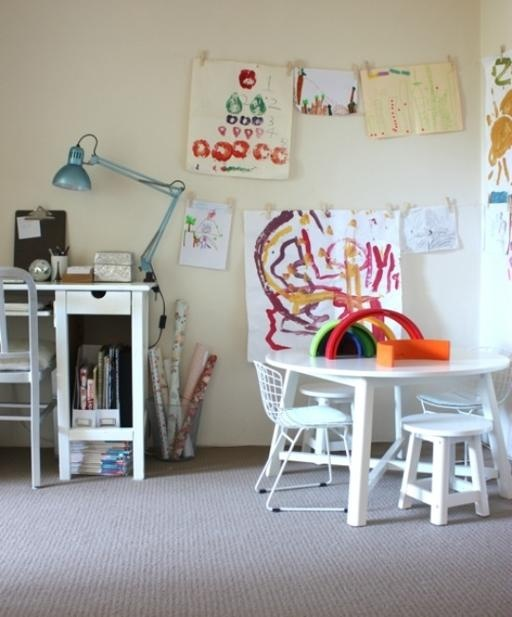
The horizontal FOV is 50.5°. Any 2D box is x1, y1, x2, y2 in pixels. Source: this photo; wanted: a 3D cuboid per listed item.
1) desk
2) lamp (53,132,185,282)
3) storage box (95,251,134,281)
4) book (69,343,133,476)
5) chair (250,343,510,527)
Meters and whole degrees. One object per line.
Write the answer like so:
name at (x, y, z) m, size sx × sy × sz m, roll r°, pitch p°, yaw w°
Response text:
desk at (-0.787, 0.281, 3.027) m, size 0.797 × 1.327 × 0.775 m, roll -1°, pitch 6°, yaw -9°
lamp at (-0.717, -0.546, 2.906) m, size 0.687 × 0.803 × 0.363 m, roll 0°, pitch 2°, yaw -21°
storage box at (-0.723, -0.175, 2.731) m, size 0.185 × 0.169 × 0.135 m, roll 0°, pitch 0°, yaw -9°
book at (-0.742, 0.510, 2.605) m, size 0.271 × 0.610 × 0.591 m, roll 1°, pitch -2°, yaw -4°
chair at (0.582, 0.514, 2.332) m, size 1.069 × 0.612 × 0.721 m, roll 0°, pitch 2°, yaw -1°
